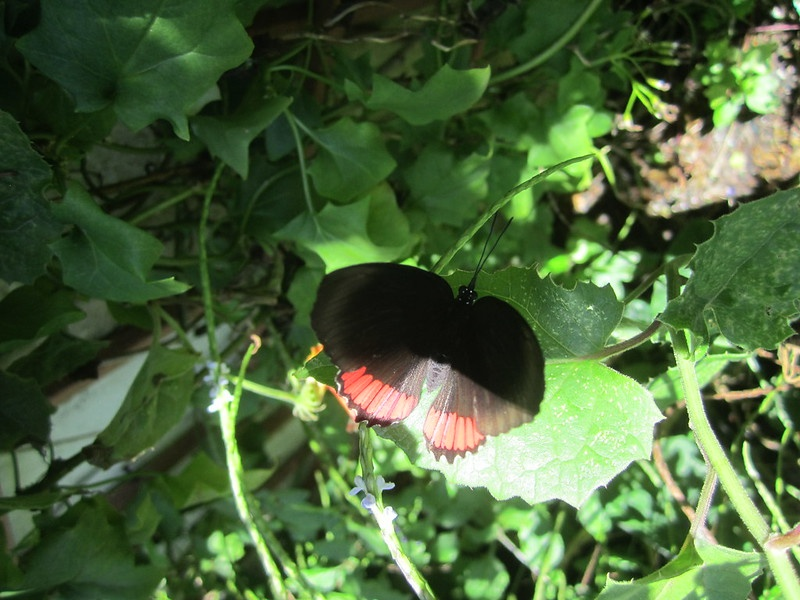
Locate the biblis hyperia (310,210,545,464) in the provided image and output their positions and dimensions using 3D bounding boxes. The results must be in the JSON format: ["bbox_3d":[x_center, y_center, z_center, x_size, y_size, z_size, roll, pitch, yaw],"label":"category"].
[{"bbox_3d":[0.051,0.039,0.812,0.281,0.079,0.252,24,70,26],"label":"biblis hyperia"}]
